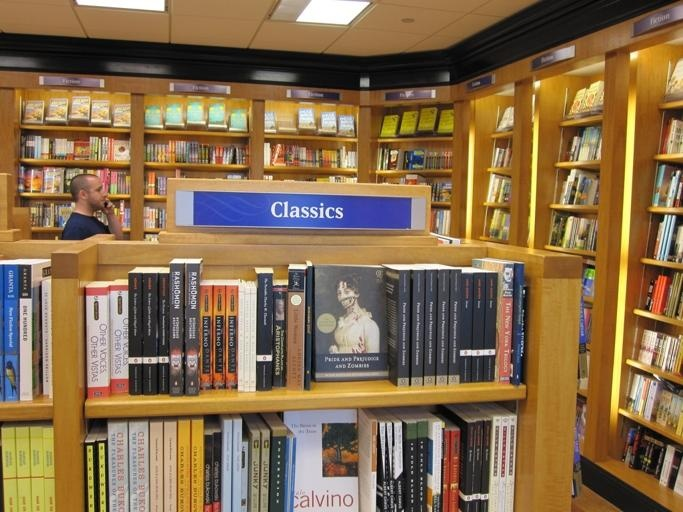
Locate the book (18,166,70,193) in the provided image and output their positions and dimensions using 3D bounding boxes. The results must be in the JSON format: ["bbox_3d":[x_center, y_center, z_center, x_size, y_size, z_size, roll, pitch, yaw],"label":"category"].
[{"bbox_3d":[-2.940,-0.762,6.521,0.523,0.268,0.140,1,4,-3],"label":"book"}]

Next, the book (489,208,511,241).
[{"bbox_3d":[1.526,-0.300,6.273,0.189,0.303,0.328,6,2,-2],"label":"book"}]

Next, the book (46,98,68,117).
[{"bbox_3d":[-2.828,-1.465,6.482,0.186,0.226,0.194,0,4,-12],"label":"book"}]

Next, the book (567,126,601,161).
[{"bbox_3d":[1.937,-0.899,5.187,0.201,0.327,0.347,1,11,-6],"label":"book"}]

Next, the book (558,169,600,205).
[{"bbox_3d":[1.882,-0.535,5.197,0.392,0.343,0.274,-1,2,-37],"label":"book"}]

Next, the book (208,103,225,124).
[{"bbox_3d":[-1.320,-1.494,6.831,0.168,0.282,0.223,-5,10,-32],"label":"book"}]

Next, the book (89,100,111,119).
[{"bbox_3d":[-2.432,-1.467,6.526,0.232,0.286,0.034,0,-5,-9],"label":"book"}]

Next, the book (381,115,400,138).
[{"bbox_3d":[0.523,-1.425,7.164,0.205,0.266,0.074,2,-16,26],"label":"book"}]

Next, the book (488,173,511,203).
[{"bbox_3d":[1.517,-0.639,6.364,0.265,0.322,0.347,4,0,5],"label":"book"}]

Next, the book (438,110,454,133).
[{"bbox_3d":[1.083,-1.422,6.846,0.150,0.285,0.246,1,4,5],"label":"book"}]

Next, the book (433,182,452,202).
[{"bbox_3d":[1.036,-0.702,6.983,0.205,0.249,0.273,-1,8,-20],"label":"book"}]

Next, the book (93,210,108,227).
[{"bbox_3d":[-2.186,-0.346,5.895,0.115,0.185,0.199,-10,14,-28],"label":"book"}]

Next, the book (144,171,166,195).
[{"bbox_3d":[-1.930,-0.748,6.721,0.193,0.242,0.121,0,4,-15],"label":"book"}]

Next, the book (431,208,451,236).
[{"bbox_3d":[1.055,-0.380,6.978,0.101,0.273,0.427,0,4,-16],"label":"book"}]

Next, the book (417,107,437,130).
[{"bbox_3d":[0.909,-1.449,6.948,0.207,0.271,0.129,2,4,15],"label":"book"}]

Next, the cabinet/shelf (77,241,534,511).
[{"bbox_3d":[-0.157,0.131,3.004,1.714,0.956,1.061,0,6,-10],"label":"cabinet/shelf"}]

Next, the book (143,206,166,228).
[{"bbox_3d":[-1.919,-0.393,6.747,0.232,0.280,0.305,0,4,-11],"label":"book"}]

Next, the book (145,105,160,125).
[{"bbox_3d":[-1.927,-1.425,6.582,0.188,0.198,0.181,2,6,-1],"label":"book"}]

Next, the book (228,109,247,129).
[{"bbox_3d":[-1.093,-1.442,6.912,0.222,0.294,0.217,0,5,-8],"label":"book"}]

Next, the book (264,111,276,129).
[{"bbox_3d":[-0.766,-1.451,6.972,0.107,0.230,0.180,1,4,-5],"label":"book"}]

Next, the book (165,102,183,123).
[{"bbox_3d":[-1.732,-1.462,6.697,0.167,0.237,0.160,0,4,-9],"label":"book"}]

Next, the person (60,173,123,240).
[{"bbox_3d":[-2.089,-0.404,5.373,0.490,0.558,0.704,6,14,-5],"label":"person"}]

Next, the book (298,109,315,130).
[{"bbox_3d":[-0.384,-1.480,7.011,0.227,0.296,0.220,0,1,-5],"label":"book"}]

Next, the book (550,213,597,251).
[{"bbox_3d":[1.866,-0.192,5.215,0.192,0.299,0.324,8,-4,-14],"label":"book"}]

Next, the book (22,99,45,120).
[{"bbox_3d":[-3.079,-1.446,6.481,0.194,0.258,0.219,-1,4,-26],"label":"book"}]

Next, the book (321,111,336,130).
[{"bbox_3d":[-0.149,-1.469,7.072,0.161,0.212,0.058,-1,-3,2],"label":"book"}]
